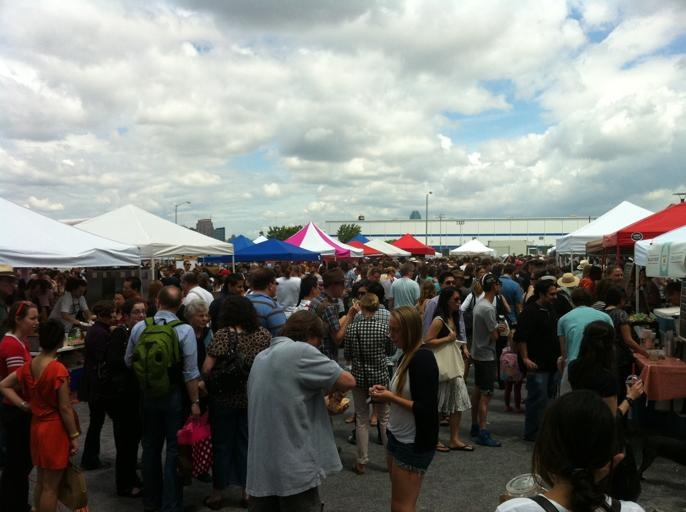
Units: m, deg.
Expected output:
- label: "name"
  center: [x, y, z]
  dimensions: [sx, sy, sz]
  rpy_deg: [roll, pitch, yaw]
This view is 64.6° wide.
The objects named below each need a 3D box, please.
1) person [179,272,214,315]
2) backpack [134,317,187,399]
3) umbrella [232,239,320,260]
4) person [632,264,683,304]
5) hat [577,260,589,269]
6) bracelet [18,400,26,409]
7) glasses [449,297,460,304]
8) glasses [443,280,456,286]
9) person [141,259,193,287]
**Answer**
- label: "person"
  center: [-2.513, 0.661, 9.042]
  dimensions: [0.486, 0.716, 0.822]
  rpy_deg: [7, 7, -14]
- label: "backpack"
  center: [-1.869, 1.052, 5.492]
  dimensions: [0.490, 0.782, 0.265]
  rpy_deg: [0, -3, -17]
- label: "umbrella"
  center: [-2.130, -0.192, 16.949]
  dimensions: [1.145, 0.722, 2.864]
  rpy_deg: [-4, -5, 42]
- label: "person"
  center: [5.960, 0.591, 10.521]
  dimensions: [0.794, 0.519, 0.814]
  rpy_deg: [1, 2, 9]
- label: "hat"
  center: [10.251, 0.382, 23.307]
  dimensions: [0.343, 0.282, 0.576]
  rpy_deg: [4, 7, 22]
- label: "bracelet"
  center: [-3.111, 1.449, 5.279]
  dimensions: [0.044, 0.068, 0.062]
  rpy_deg: [-20, -27, -53]
- label: "glasses"
  center: [1.430, 0.567, 6.914]
  dimensions: [0.076, 0.061, 0.102]
  rpy_deg: [4, -14, -27]
- label: "glasses"
  center: [1.804, 0.467, 9.307]
  dimensions: [0.103, 0.109, 0.039]
  rpy_deg: [5, 12, -15]
- label: "person"
  center: [-4.452, 0.407, 13.573]
  dimensions: [1.145, 0.638, 0.811]
  rpy_deg: [-2, -2, 14]
